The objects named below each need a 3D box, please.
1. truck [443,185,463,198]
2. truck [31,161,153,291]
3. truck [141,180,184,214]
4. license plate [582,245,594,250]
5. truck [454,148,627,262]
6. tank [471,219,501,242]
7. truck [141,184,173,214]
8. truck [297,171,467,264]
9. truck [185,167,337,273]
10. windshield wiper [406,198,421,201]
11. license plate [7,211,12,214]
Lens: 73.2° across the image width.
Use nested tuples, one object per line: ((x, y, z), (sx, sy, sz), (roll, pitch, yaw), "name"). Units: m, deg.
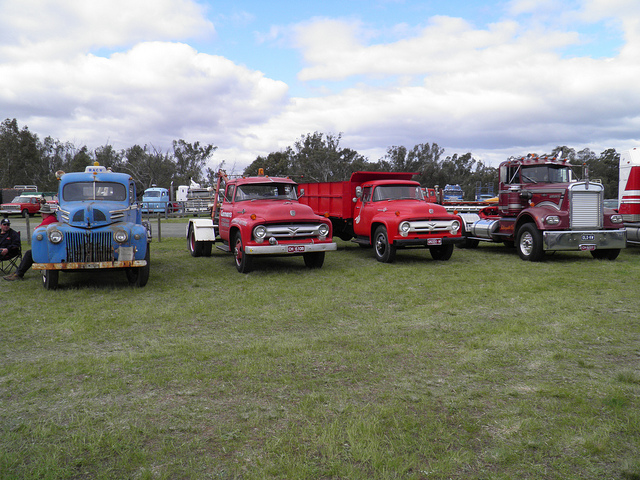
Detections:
((14.143, -5.528, 45.762), (1.940, 1.715, 3.595), (-1, -1, 6), "truck")
((-5.224, -0.400, 10.606), (2.005, 2.473, 3.820), (0, -2, -11), "truck")
((-14.522, -4.134, 40.356), (2.404, 3.068, 5.121), (2, 10, 6), "truck")
((7.656, 0.185, 12.353), (0.412, 0.151, 0.101), (-4, 9, -23), "license plate")
((7.200, -1.302, 15.822), (2.883, 3.396, 7.308), (-2, 4, -5), "truck")
((5.739, -0.418, 15.139), (0.622, 0.639, 0.857), (-5, 5, -33), "tank")
((-14.676, -3.860, 39.602), (2.128, 2.665, 4.113), (0, 9, 0), "truck")
((1.845, -0.827, 15.170), (2.753, 2.763, 6.720), (-1, 1, -23), "truck")
((-1.818, -0.509, 12.568), (2.658, 2.420, 4.351), (0, -1, -26), "truck")
((2.927, -1.312, 13.559), (0.453, 0.075, 0.091), (1, 9, 5), "windshield wiper")
((-26.235, -2.447, 36.535), (0.299, 0.187, 0.360), (-7, 11, -39), "license plate")
